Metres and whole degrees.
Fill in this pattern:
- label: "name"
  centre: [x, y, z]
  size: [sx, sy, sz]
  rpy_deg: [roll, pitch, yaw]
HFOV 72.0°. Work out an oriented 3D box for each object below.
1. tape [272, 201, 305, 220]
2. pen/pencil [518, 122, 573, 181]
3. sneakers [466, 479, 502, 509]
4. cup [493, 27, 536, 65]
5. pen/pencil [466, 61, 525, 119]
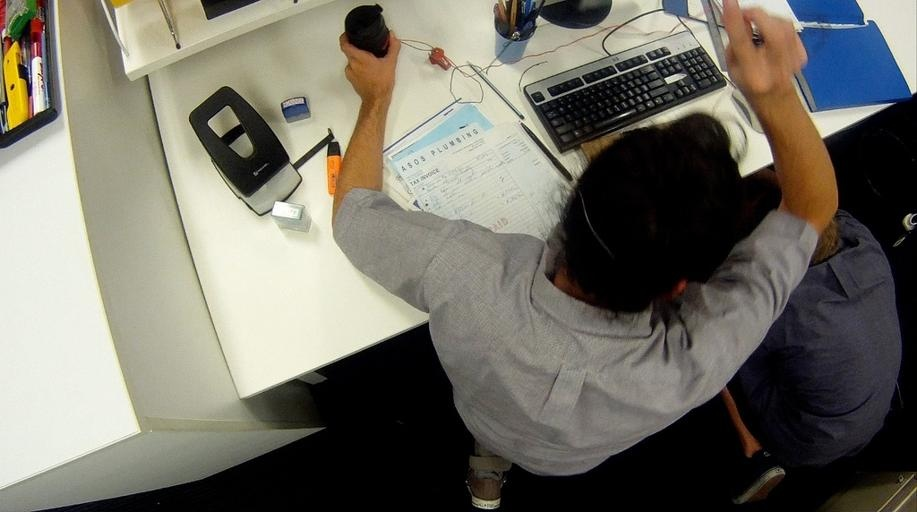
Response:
- label: "tape"
  centre: [-0.478, -0.125, 1.767]
  size: [0.092, 0.046, 0.059]
  rpy_deg: [6, -1, -2]
- label: "pen/pencil"
  centre: [0.261, -0.305, 1.880]
  size: [0.025, 0.223, 0.023]
  rpy_deg: [-37, -10, -40]
- label: "sneakers"
  centre: [0.104, 0.816, 2.238]
  size: [0.131, 0.129, 0.134]
  rpy_deg: [-6, -10, 5]
- label: "cup"
  centre: [0.174, -0.632, 1.926]
  size: [0.084, 0.103, 0.111]
  rpy_deg: [91, -164, -65]
- label: "pen/pencil"
  centre: [0.110, -0.500, 1.937]
  size: [0.019, 0.242, 0.019]
  rpy_deg: [-48, -6, 20]
